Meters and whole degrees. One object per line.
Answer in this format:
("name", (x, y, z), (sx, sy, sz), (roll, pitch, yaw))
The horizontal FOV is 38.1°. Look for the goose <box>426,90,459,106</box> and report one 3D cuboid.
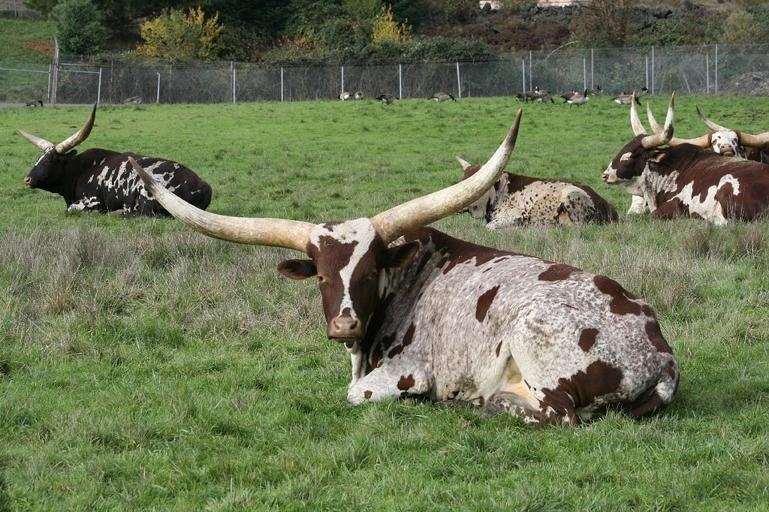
("goose", (2.643, -7.454, 52.096), (0.512, 0.788, 2.041), (9, 3, -24))
